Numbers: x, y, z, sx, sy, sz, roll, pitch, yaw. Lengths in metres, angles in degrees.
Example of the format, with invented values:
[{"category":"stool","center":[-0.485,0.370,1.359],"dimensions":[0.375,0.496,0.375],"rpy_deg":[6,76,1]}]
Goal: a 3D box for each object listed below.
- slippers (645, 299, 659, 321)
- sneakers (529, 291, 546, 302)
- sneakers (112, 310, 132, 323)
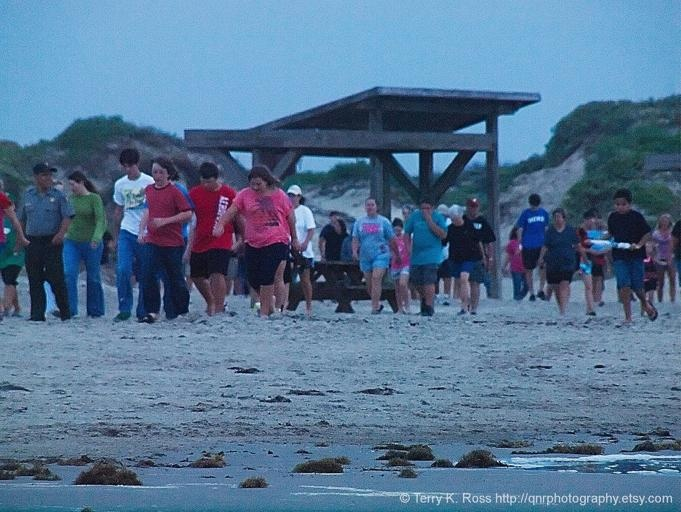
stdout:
[{"category":"slippers","center":[4.756,0.909,24.791],"dimensions":[0.131,0.201,0.553],"rpy_deg":[11,-21,13]},{"category":"sneakers","center":[3.462,0.701,28.536],"dimensions":[0.158,0.206,0.465],"rpy_deg":[3,-6,1]},{"category":"sneakers","center":[-3.114,0.855,23.007],"dimensions":[0.255,0.192,0.096],"rpy_deg":[4,-5,-4]}]
